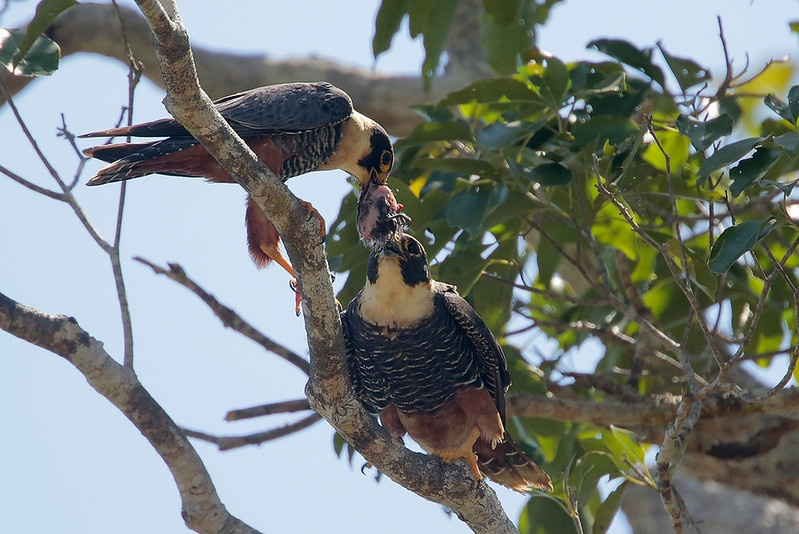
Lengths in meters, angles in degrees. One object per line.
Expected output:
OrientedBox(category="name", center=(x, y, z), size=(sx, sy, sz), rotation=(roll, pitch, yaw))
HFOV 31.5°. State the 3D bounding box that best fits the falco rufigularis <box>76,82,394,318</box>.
OrientedBox(category="falco rufigularis", center=(-1.167, -0.668, 10.973), size=(2.269, 1.830, 0.830), rotation=(8, -12, -5))
